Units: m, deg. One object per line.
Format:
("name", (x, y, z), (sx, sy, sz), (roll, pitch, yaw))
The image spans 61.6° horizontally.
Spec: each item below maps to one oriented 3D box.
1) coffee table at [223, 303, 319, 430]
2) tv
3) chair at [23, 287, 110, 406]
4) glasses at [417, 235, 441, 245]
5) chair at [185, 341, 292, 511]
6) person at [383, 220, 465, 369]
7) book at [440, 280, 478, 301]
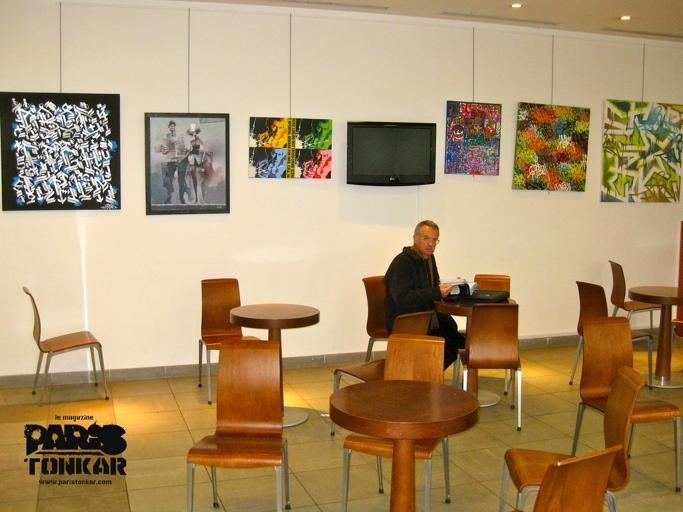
("coffee table", (-0.638, 1.043, 5.646), (0.950, 1.289, 1.031), (0, 11, -1))
("tv", (0.646, -1.300, 7.304), (1.177, 0.776, 0.104), (-2, 7, -14))
("chair", (-2.958, 0.914, 6.114), (0.748, 1.174, 0.642), (-1, 5, -32))
("glasses", (0.913, -0.165, 5.851), (0.217, 0.080, 0.104), (-5, 8, -36))
("chair", (-0.697, 1.210, 3.854), (0.710, 1.271, 0.988), (-1, 6, -9))
("person", (0.911, 0.545, 5.952), (0.909, 1.762, 0.834), (-3, 2, 41))
("book", (1.220, 0.339, 5.793), (0.227, 0.092, 0.228), (2, 5, 44))
